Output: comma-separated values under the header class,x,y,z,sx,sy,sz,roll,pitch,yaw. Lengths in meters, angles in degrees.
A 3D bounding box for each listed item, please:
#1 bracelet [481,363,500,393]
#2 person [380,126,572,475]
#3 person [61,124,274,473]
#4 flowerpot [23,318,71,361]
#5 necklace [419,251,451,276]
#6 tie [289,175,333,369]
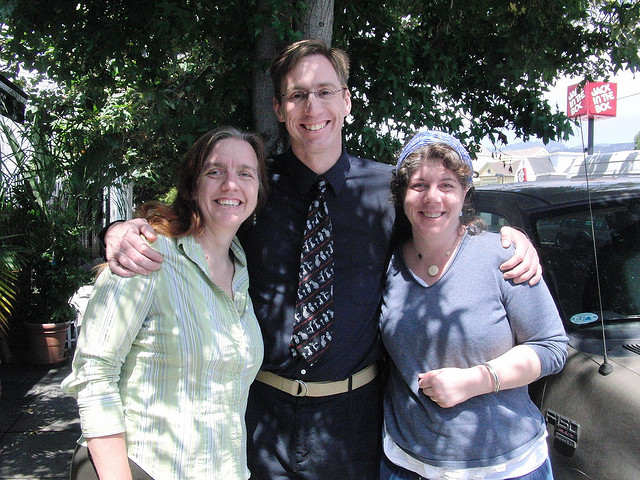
class,x,y,z,sx,sy,sz,roll,pitch,yaw
bracelet,0.830,0.656,2.574,0.030,0.105,0.103,-16,44,-8
person,0.735,0.305,2.780,0.909,1.799,0.441,-2,-2,5
person,-0.705,0.277,2.617,1.004,1.748,0.357,-1,-2,-28
flowerpot,-3.395,1.231,6.771,0.512,0.436,0.531,1,0,1
necklace,0.604,0.120,2.805,0.014,0.058,0.139,43,10,-35
tie,-0.052,0.154,2.981,0.262,1.069,0.262,-2,-2,2
